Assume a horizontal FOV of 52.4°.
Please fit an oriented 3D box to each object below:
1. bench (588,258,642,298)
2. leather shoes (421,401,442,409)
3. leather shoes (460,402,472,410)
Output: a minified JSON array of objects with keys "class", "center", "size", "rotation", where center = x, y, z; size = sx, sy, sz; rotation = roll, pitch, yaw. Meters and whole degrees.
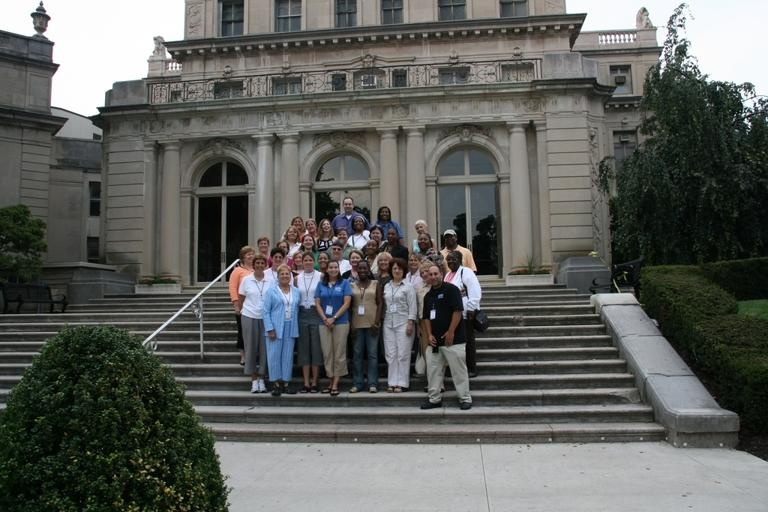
[{"class":"bench","center":[6.771,0.637,22.549],"size":[1.410,1.555,1.176],"rotation":[0,-3,2]},{"class":"leather shoes","center":[0.960,3.044,15.962],"size":[0.474,0.187,0.159],"rotation":[2,-5,-2]},{"class":"leather shoes","center":[1.679,3.033,15.934],"size":[0.264,0.162,0.400],"rotation":[-2,0,5]}]
